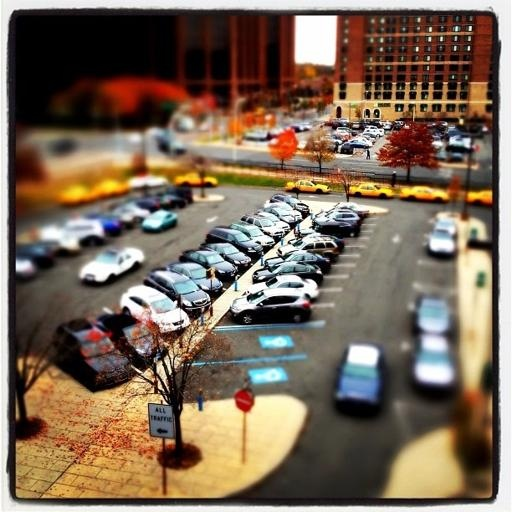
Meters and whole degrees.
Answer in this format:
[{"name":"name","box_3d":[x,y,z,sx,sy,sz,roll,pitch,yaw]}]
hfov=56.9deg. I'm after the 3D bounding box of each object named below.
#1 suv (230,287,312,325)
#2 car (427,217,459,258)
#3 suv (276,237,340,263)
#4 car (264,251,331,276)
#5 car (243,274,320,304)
[{"name":"suv","box_3d":[0.686,2.431,22.944,4.156,1.205,1.607,0,21,-8]},{"name":"car","box_3d":[11.471,-1.152,28.884,1.618,2.215,1.714,10,20,26]},{"name":"suv","box_3d":[2.813,-0.345,26.122,3.369,0.947,1.299,1,27,-2]},{"name":"car","box_3d":[2.232,0.354,25.576,3.456,0.889,1.275,3,18,-2]},{"name":"car","box_3d":[1.356,1.668,23.578,3.675,0.942,1.342,0,21,-8]}]
